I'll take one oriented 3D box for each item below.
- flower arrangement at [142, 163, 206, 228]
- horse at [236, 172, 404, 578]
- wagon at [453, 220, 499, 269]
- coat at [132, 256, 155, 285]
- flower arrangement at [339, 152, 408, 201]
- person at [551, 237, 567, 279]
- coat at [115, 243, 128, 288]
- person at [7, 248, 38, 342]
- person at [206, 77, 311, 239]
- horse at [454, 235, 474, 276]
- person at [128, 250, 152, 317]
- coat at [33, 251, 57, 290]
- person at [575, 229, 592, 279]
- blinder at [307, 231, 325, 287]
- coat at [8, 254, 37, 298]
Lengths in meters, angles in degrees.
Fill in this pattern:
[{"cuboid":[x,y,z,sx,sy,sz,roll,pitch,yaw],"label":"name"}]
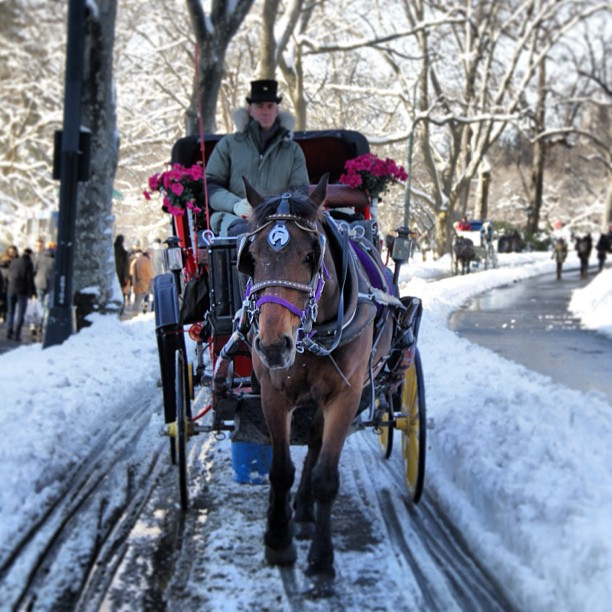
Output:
[{"cuboid":[-1.032,-0.901,6.480,0.366,0.467,0.454,0,8,-5],"label":"flower arrangement"},{"cuboid":[0.060,0.393,4.737,0.837,2.331,1.727,3,8,13],"label":"horse"},{"cuboid":[7.560,-2.949,35.080,1.537,2.933,1.619,9,17,21],"label":"wagon"},{"cuboid":[-3.488,-0.744,16.994,0.406,0.618,0.466,-1,8,-15],"label":"coat"},{"cuboid":[0.603,-1.174,7.104,0.418,0.460,0.472,4,23,-15],"label":"flower arrangement"},{"cuboid":[8.871,-1.657,27.993,0.374,1.441,3.203,3,9,17],"label":"person"},{"cuboid":[-3.855,-0.843,16.642,0.234,0.977,0.646,-1,8,-15],"label":"coat"},{"cuboid":[-5.021,-0.229,14.106,0.519,1.495,1.956,-2,9,-21],"label":"person"},{"cuboid":[-0.345,-1.077,6.059,0.650,1.367,0.877,5,10,8],"label":"person"},{"cuboid":[6.167,-1.968,31.346,0.662,1.551,2.687,2,9,10],"label":"horse"},{"cuboid":[-3.516,-0.432,16.998,0.426,1.615,0.417,-7,-23,16],"label":"person"},{"cuboid":[-4.723,-0.651,14.596,0.556,0.674,0.342,7,10,36],"label":"coat"},{"cuboid":[9.764,-2.042,28.045,0.507,1.454,2.326,5,19,14],"label":"person"},{"cuboid":[0.065,-0.244,4.236,0.047,0.248,0.137,11,-9,-43],"label":"blinder"},{"cuboid":[-5.082,-0.520,14.239,0.527,0.925,0.396,4,2,-3],"label":"coat"}]
